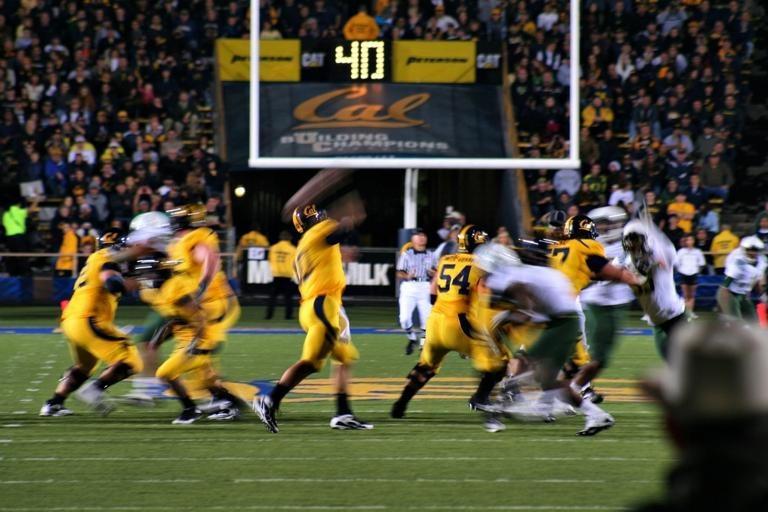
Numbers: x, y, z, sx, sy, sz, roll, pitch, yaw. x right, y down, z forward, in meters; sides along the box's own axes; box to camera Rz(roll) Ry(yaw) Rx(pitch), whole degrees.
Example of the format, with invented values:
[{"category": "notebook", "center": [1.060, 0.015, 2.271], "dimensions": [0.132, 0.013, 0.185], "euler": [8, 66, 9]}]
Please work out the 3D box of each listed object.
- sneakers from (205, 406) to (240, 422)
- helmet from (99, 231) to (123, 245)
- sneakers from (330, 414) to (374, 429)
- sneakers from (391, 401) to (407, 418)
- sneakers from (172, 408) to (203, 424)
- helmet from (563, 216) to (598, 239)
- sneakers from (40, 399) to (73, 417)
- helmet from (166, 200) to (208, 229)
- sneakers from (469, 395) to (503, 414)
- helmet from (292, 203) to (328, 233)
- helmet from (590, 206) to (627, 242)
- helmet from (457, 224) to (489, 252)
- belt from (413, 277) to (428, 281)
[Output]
[{"category": "sneakers", "center": [-2.028, 2.016, 15.242], "dimensions": [0.480, 0.120, 0.183], "euler": [-5, 12, -7]}, {"category": "helmet", "center": [-3.587, -0.242, 15.690], "dimensions": [0.291, 0.197, 0.396], "euler": [-1, 4, -11]}, {"category": "sneakers", "center": [-0.422, 2.077, 14.880], "dimensions": [0.606, 0.171, 0.182], "euler": [1, -2, -2]}, {"category": "sneakers", "center": [0.211, 1.969, 15.203], "dimensions": [0.230, 0.170, 0.229], "euler": [6, -12, -28]}, {"category": "sneakers", "center": [-2.464, 2.005, 15.058], "dimensions": [0.394, 0.119, 0.189], "euler": [-8, 13, -23]}, {"category": "helmet", "center": [2.537, -0.383, 15.409], "dimensions": [0.409, 0.304, 0.325], "euler": [-18, 9, -31]}, {"category": "sneakers", "center": [-4.189, 1.963, 15.303], "dimensions": [0.523, 0.157, 0.162], "euler": [1, 3, -11]}, {"category": "helmet", "center": [-2.489, -0.545, 15.278], "dimensions": [0.481, 0.132, 0.333], "euler": [-12, 19, -22]}, {"category": "sneakers", "center": [1.300, 1.872, 15.015], "dimensions": [0.367, 0.192, 0.292], "euler": [-1, 5, -14]}, {"category": "helmet", "center": [-1.001, -0.494, 15.148], "dimensions": [0.508, 0.278, 0.315], "euler": [-6, 0, 3]}, {"category": "helmet", "center": [3.014, -0.432, 16.049], "dimensions": [0.500, 0.479, 0.475], "euler": [1, 5, 8]}, {"category": "helmet", "center": [1.138, -0.224, 15.199], "dimensions": [0.368, 0.339, 0.343], "euler": [1, 5, 5]}, {"category": "belt", "center": [0.572, 0.351, 18.764], "dimensions": [0.216, 0.076, 0.072], "euler": [-1, 5, -12]}]
